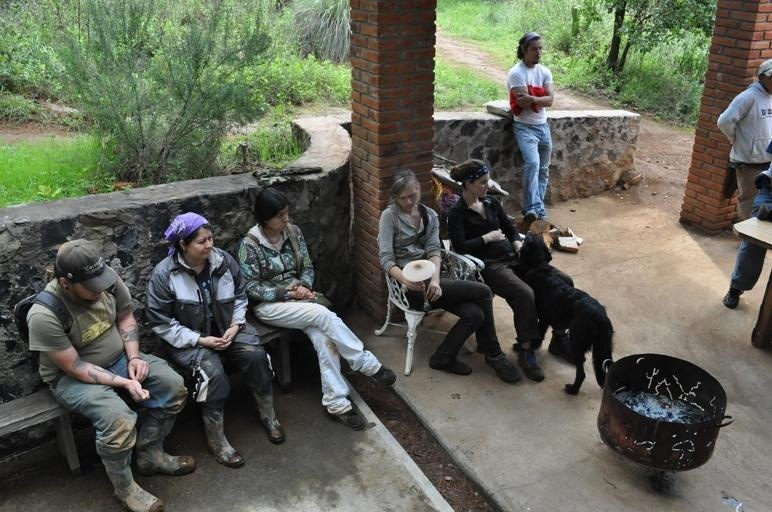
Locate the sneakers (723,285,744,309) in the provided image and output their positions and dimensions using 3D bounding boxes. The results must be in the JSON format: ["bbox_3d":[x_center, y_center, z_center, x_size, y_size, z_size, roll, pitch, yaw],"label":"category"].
[{"bbox_3d":[4.152,0.491,6.221,0.131,0.142,0.359,19,56,45],"label":"sneakers"}]

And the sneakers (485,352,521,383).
[{"bbox_3d":[1.177,1.117,5.304,0.205,0.167,0.396,-30,45,-30],"label":"sneakers"}]

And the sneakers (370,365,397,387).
[{"bbox_3d":[0.005,1.135,4.973,0.303,0.132,0.135,16,42,34],"label":"sneakers"}]

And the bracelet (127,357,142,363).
[{"bbox_3d":[-2.074,0.854,4.298,0.080,0.037,0.058,6,61,-9],"label":"bracelet"}]

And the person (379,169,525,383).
[{"bbox_3d":[0.579,0.353,5.222,0.684,1.613,1.433,-24,35,-36],"label":"person"}]

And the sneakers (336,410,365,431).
[{"bbox_3d":[-0.320,1.496,4.810,0.262,0.106,0.147,18,28,33],"label":"sneakers"}]

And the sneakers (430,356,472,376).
[{"bbox_3d":[0.673,1.105,5.408,0.454,0.182,0.164,6,25,10],"label":"sneakers"}]

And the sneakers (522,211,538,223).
[{"bbox_3d":[2.124,-0.584,7.707,0.197,0.157,0.207,-17,6,-42],"label":"sneakers"}]
